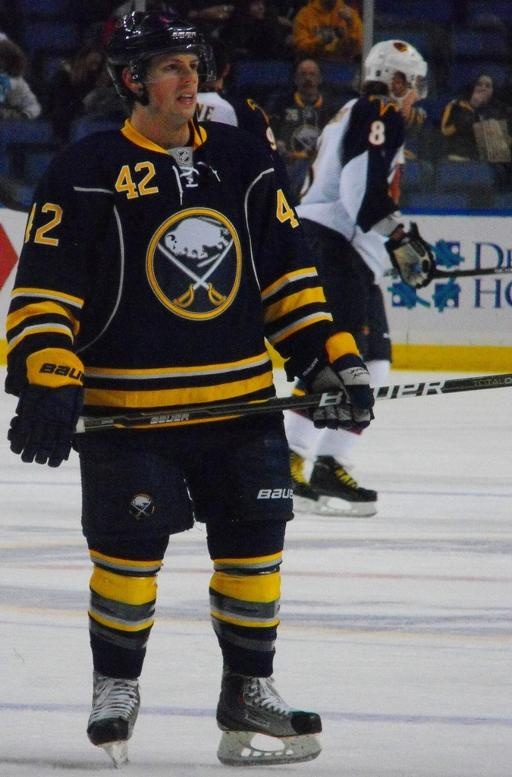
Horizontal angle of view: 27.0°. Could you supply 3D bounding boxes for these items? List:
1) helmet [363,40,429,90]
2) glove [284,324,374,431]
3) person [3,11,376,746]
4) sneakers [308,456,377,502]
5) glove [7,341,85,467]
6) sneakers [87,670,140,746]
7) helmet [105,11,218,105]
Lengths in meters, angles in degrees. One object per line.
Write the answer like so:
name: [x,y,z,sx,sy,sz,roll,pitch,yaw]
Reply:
helmet: [0.472,-1.117,3.701,0.228,0.137,0.162,2,13,18]
glove: [0.171,0.010,2.075,0.221,0.142,0.094,-13,-16,13]
person: [-0.109,-0.013,1.928,0.665,1.342,0.434,1,10,0]
sneakers: [0.294,0.331,3.772,0.323,0.155,0.110,2,5,44]
glove: [-0.347,0.030,1.770,0.118,0.190,0.099,-1,10,-9]
sneakers: [-0.252,0.563,1.873,0.062,0.062,0.164,11,0,-9]
helmet: [-0.170,-0.610,1.976,0.229,0.167,0.180,14,25,38]
